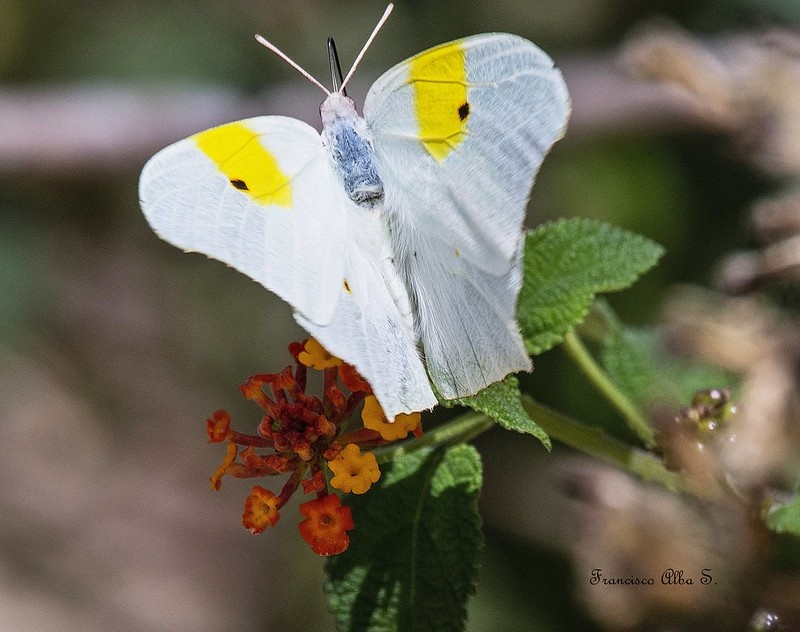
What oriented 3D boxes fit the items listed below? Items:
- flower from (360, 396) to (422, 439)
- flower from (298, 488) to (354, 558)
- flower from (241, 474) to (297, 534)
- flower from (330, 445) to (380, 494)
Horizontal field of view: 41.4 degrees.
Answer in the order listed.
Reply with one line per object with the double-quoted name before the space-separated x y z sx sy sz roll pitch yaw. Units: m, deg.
"flower" -0.034 0.316 3.110 0.130 0.148 0.056 8 25 28
"flower" -0.218 0.629 3.110 0.158 0.182 0.149 -17 43 -19
"flower" -0.390 0.551 3.123 0.115 0.065 0.175 18 9 20
"flower" -0.143 0.438 3.094 0.146 0.096 0.147 -15 43 -18
